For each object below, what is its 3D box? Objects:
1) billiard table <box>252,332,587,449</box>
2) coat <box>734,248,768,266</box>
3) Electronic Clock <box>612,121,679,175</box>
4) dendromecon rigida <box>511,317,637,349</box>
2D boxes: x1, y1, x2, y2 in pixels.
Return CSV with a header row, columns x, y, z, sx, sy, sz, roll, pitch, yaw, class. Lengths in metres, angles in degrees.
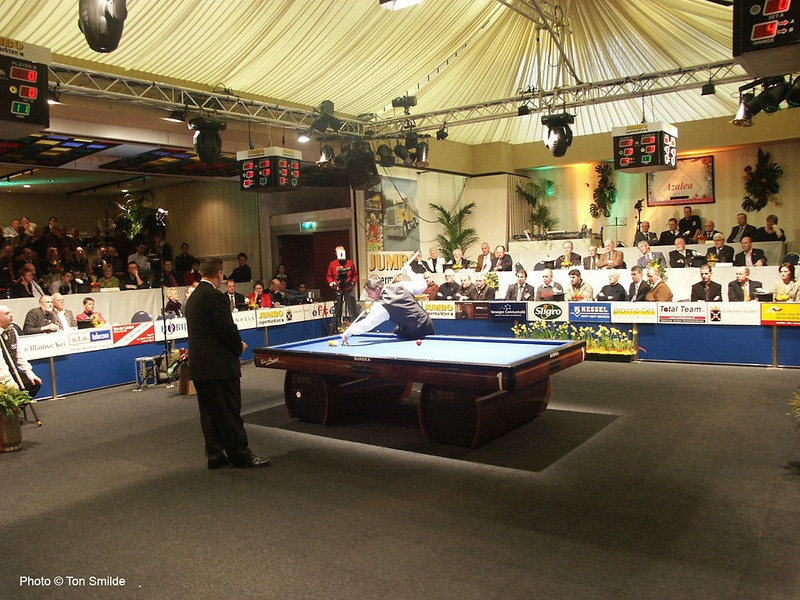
x,y,z,sx,sy,sz,roll,pitch,yaw,class
0.171,1.131,8.594,3.994,1.133,2.351,1,4,36,billiard table
7.291,-0.871,13.267,0.260,0.475,0.396,4,-9,-42,coat
4.962,-3.092,12.972,1.226,0.920,0.551,1,10,16,Electronic Clock
3.364,0.645,11.785,2.236,0.447,0.767,11,7,33,dendromecon rigida
